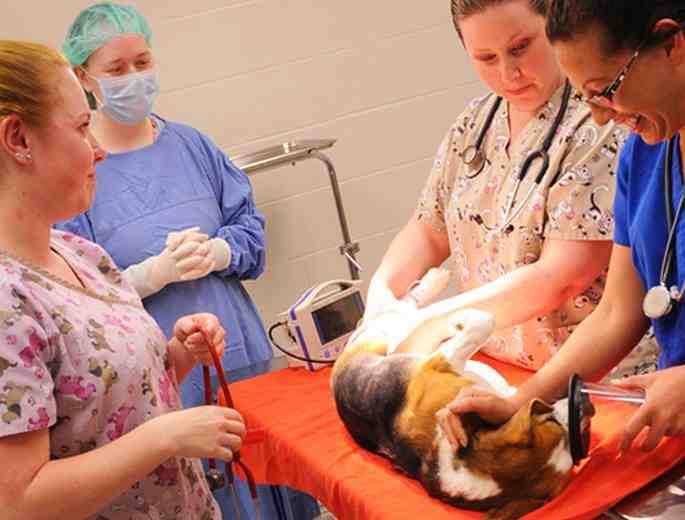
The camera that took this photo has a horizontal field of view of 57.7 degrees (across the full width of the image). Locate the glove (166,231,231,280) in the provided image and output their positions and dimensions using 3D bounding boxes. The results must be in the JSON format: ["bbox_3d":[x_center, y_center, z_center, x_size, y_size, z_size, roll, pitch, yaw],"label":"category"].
[{"bbox_3d":[-0.575,-0.036,2.481,0.180,0.229,0.183,12,18,34],"label":"glove"}]

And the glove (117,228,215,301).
[{"bbox_3d":[-0.684,-0.027,2.433,0.222,0.290,0.262,11,19,37],"label":"glove"}]
